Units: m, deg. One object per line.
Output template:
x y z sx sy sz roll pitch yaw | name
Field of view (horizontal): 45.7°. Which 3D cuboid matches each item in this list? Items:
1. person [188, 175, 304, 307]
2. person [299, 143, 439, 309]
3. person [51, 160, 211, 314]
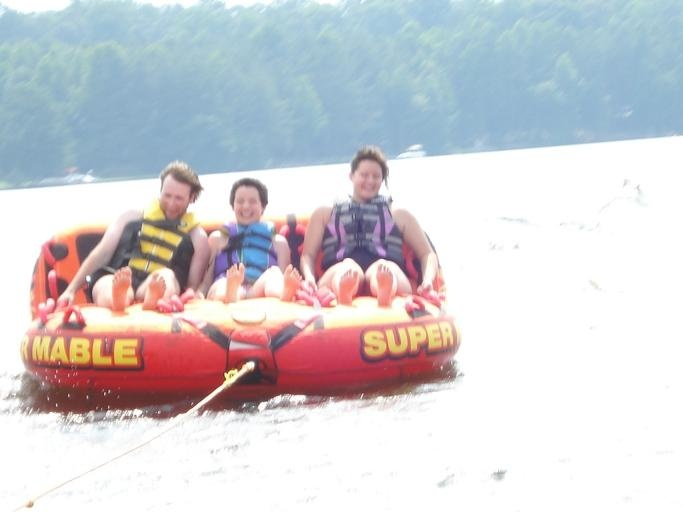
-0.569 -0.099 5.096 0.574 0.849 0.762 1 -4 -25 | person
0.147 -0.162 5.102 0.865 1.239 1.142 -1 -10 1 | person
-1.245 -0.093 5.015 0.663 0.712 0.989 11 1 -2 | person
